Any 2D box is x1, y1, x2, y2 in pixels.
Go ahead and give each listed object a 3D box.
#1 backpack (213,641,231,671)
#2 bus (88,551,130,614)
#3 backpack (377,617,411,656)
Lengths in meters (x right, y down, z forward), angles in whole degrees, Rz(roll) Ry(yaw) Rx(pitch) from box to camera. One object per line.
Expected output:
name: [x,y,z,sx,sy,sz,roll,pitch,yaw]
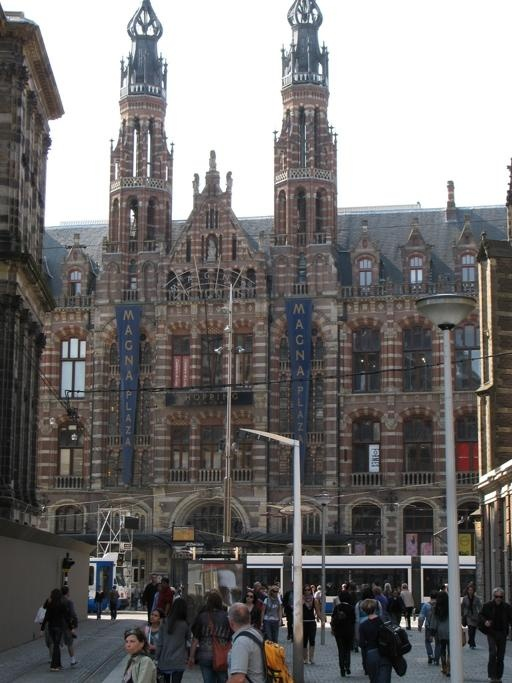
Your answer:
backpack: [-0.486,4.360,20.972,0.211,0.404,0.486,2,-15,-9]
bus: [-5.735,9.147,57.711,2.350,1.843,1.535,-1,-6,8]
backpack: [1.887,4.181,21.129,0.331,0.663,0.632,-12,-13,33]
